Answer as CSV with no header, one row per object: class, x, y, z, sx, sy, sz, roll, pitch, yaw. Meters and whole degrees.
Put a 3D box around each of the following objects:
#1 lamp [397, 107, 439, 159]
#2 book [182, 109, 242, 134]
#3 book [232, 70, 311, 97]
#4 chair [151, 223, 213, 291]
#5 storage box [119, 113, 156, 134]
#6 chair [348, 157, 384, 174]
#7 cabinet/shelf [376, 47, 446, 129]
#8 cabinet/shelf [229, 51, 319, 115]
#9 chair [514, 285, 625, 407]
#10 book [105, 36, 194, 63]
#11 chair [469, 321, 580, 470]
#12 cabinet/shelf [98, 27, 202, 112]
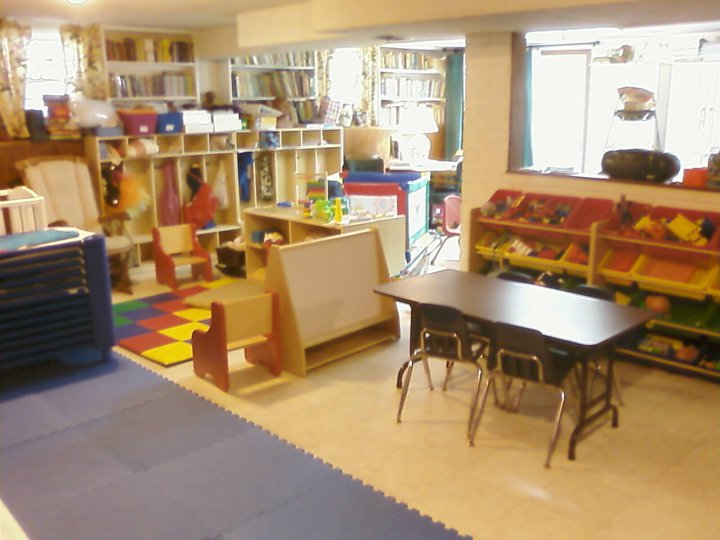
lamp,1.034,-2.579,10.333,0.652,0.941,1.781,0,19,4
book,-2.102,-2.111,7.857,0.841,0.297,0.094,-13,22,-33
book,-1.421,-2.962,8.835,1.301,0.450,0.387,-8,20,-20
chair,-2.350,-0.153,7.194,0.638,0.862,0.579,-14,23,-40
storage box,-2.902,-1.893,7.282,0.359,0.238,0.286,-1,6,-36
chair,0.085,-1.641,8.628,0.277,0.207,0.754,-17,24,-39
cabinet/shelf,0.922,-3.562,10.671,0.534,1.766,1.846,10,14,43
cabinet/shelf,-1.420,-2.969,8.733,0.336,1.112,1.163,11,17,42
chair,1.501,0.551,4.019,0.607,0.884,0.542,-28,32,-35
book,-2.887,-3.034,7.641,0.242,0.313,1.238,14,24,38
chair,1.142,0.755,3.915,0.655,0.932,0.654,7,20,22
cabinet/shelf,-2.965,-2.794,7.651,0.355,1.025,1.201,13,21,35
